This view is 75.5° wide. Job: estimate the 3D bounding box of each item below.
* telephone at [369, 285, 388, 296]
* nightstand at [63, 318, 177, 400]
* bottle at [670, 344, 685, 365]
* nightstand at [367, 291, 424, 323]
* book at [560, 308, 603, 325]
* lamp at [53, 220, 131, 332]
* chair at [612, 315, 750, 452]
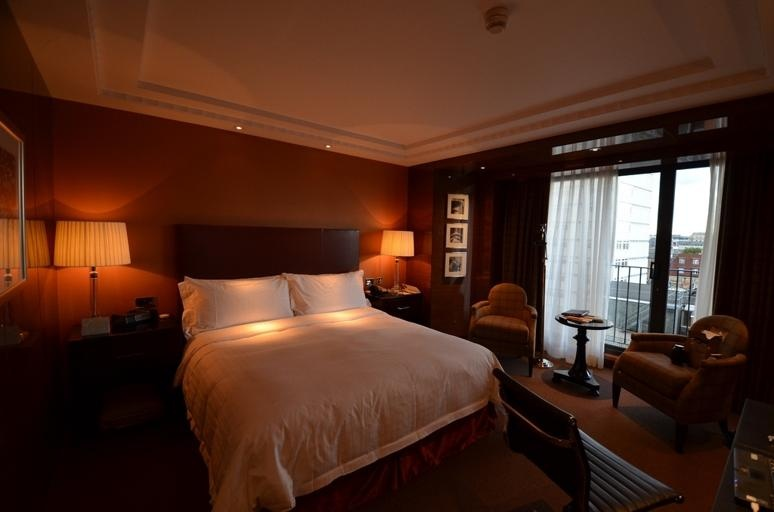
[{"bbox_3d":[-0.128,0.499,7.111,0.175,0.124,0.182,-7,-2,20],"label":"telephone"},{"bbox_3d":[-2.776,0.958,5.317,0.933,0.884,0.658,-4,13,-27],"label":"nightstand"},{"bbox_3d":[3.104,1.051,5.312,0.140,0.244,0.131,0,11,0],"label":"bottle"},{"bbox_3d":[0.109,0.639,7.153,0.682,0.672,0.446,-4,4,-41],"label":"nightstand"},{"bbox_3d":[2.398,0.743,6.078,0.436,0.101,0.336,-1,2,-5],"label":"book"},{"bbox_3d":[-3.068,0.205,5.194,0.659,1.125,0.549,-2,3,-34],"label":"lamp"},{"bbox_3d":[3.233,1.252,5.671,1.383,1.593,1.171,1,2,-14],"label":"chair"}]
